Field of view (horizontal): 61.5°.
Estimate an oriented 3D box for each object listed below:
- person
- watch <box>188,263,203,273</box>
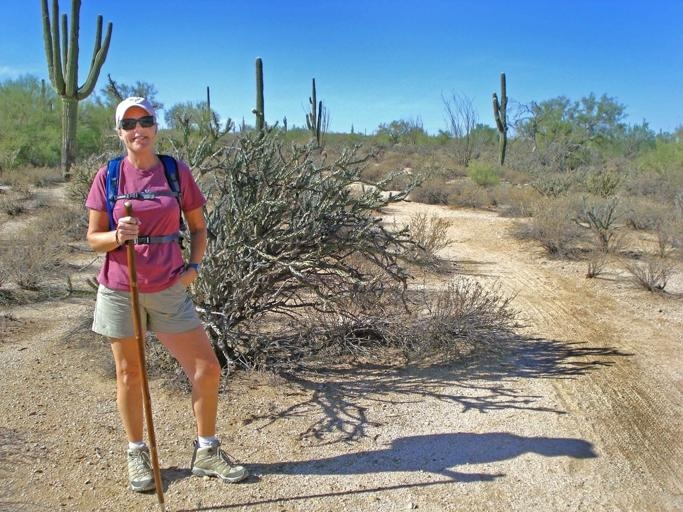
[{"bbox_3d":[-1.226,0.270,3.857,0.875,2.661,0.480,-4,8,-18],"label":"person"},{"bbox_3d":[-1.002,0.077,3.866,0.058,0.036,0.058,5,14,9],"label":"watch"}]
